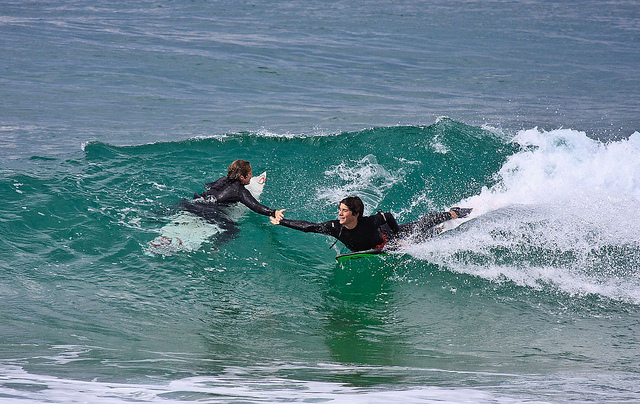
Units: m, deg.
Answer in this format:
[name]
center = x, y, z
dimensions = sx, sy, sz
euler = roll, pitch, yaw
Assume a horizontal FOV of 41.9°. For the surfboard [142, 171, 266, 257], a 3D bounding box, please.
[surfboard]
center = -3.070, 0.596, 24.757
dimensions = 1.451, 0.399, 4.381
euler = 37, 38, 25
